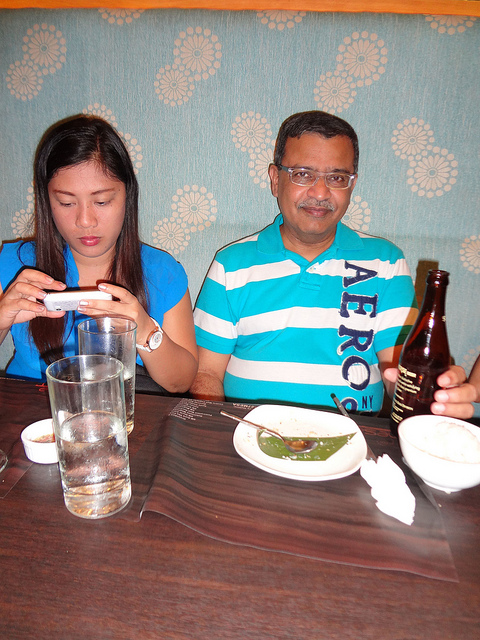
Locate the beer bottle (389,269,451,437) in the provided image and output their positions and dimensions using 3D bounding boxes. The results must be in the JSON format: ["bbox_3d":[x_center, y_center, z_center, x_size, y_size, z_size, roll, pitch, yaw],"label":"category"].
[{"bbox_3d":[0.312,0.070,0.922,0.113,0.323,0.106,1,17,0],"label":"beer bottle"}]

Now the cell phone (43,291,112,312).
[{"bbox_3d":[-0.358,-0.038,1.048,0.107,0.023,0.057,0,-1,-9],"label":"cell phone"}]

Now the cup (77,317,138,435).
[{"bbox_3d":[-0.254,0.103,0.908,0.120,0.202,0.116,-1,0,0],"label":"cup"}]

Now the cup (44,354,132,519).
[{"bbox_3d":[-0.211,0.152,0.707,0.107,0.209,0.152,-2,25,-16],"label":"cup"}]

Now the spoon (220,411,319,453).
[{"bbox_3d":[0.035,0.209,0.923,0.214,0.029,0.052,10,14,23],"label":"spoon"}]
